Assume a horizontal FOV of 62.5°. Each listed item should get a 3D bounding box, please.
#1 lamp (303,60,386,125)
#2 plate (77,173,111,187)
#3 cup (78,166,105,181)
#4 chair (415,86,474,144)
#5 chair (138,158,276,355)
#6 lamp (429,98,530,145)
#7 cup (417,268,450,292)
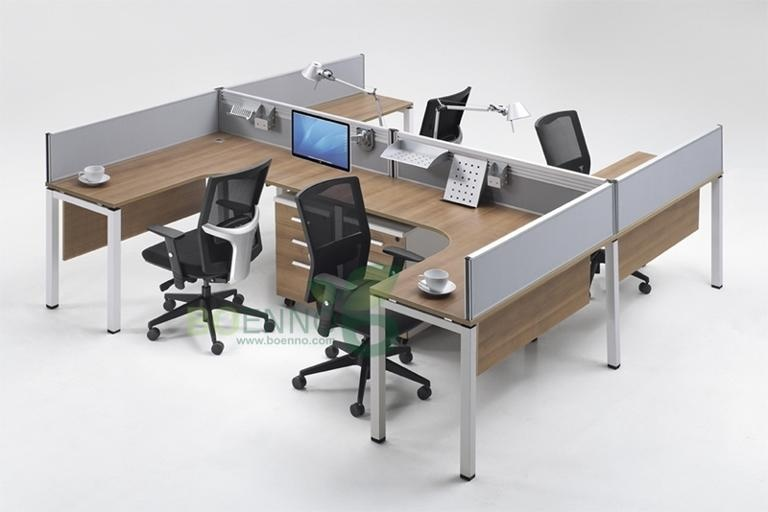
[{"bbox_3d":[-0.334,-1.314,5.078,0.766,0.293,0.177,29,50,20],"label":"lamp"},{"bbox_3d":[-2.236,-0.592,4.874,0.147,0.032,0.141,2,22,3],"label":"plate"},{"bbox_3d":[-2.278,-0.639,4.886,0.188,0.079,0.144,0,25,5],"label":"cup"},{"bbox_3d":[0.609,-1.210,5.861,0.261,0.479,0.703,20,21,39],"label":"chair"},{"bbox_3d":[-1.284,-0.056,4.802,1.018,1.232,0.954,7,17,8],"label":"chair"},{"bbox_3d":[0.691,-0.954,4.498,0.663,0.298,0.164,1,2,2],"label":"lamp"},{"bbox_3d":[0.282,0.133,3.540,0.146,0.127,0.196,-1,-4,3],"label":"cup"}]
